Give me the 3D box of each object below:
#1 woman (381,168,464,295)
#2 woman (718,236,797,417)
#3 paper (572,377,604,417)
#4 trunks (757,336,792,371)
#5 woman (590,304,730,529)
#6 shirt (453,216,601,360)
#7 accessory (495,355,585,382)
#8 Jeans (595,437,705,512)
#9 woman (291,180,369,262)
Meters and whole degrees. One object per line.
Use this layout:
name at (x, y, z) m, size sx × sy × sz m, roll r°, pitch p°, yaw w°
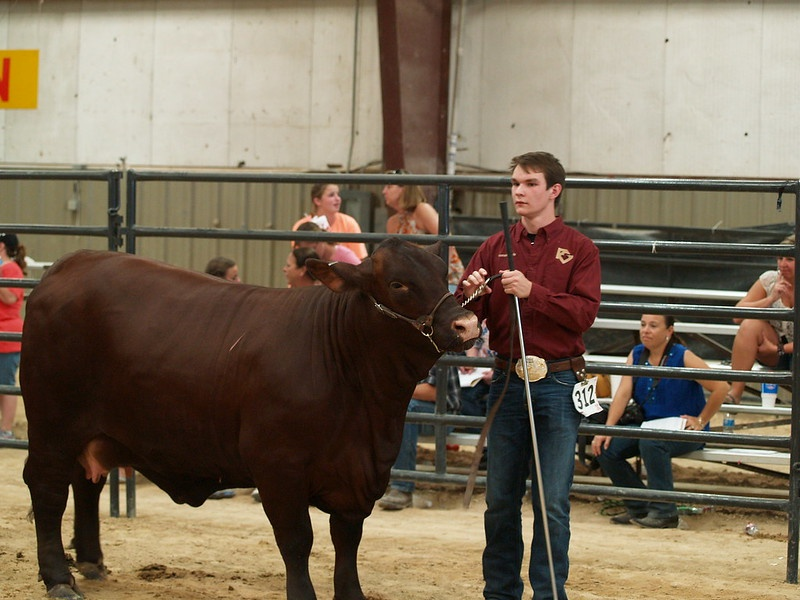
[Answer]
woman at (0.188, -0.625, 19.705) m, size 0.675 × 1.861 × 0.790 m, roll 5°, pitch 46°, yaw 6°
woman at (3.437, 0.201, 19.340) m, size 0.588 × 1.612 × 1.014 m, roll 2°, pitch 3°, yaw 9°
paper at (1.529, 0.807, 16.873) m, size 0.228 × 0.319 × 0.098 m, roll -4°, pitch -5°, yaw -15°
trunks at (3.583, 0.523, 19.356) m, size 0.327 × 0.137 × 0.259 m, roll 22°, pitch 0°, yaw 30°
woman at (2.393, 1.143, 18.711) m, size 1.252 × 2.258 × 1.233 m, roll 18°, pitch -25°, yaw -29°
shirt at (1.090, -0.048, 17.065) m, size 1.295 × 1.154 × 0.772 m, roll -2°, pitch 2°, yaw 25°
accessory at (1.157, 0.571, 16.853) m, size 0.748 × 0.227 × 0.199 m, roll 2°, pitch 3°, yaw 3°
Jeans at (2.290, 1.627, 18.814) m, size 0.830 × 0.719 × 0.518 m, roll 4°, pitch 4°, yaw 43°
woman at (-0.682, -0.689, 19.808) m, size 0.689 × 0.896 × 0.497 m, roll -9°, pitch 2°, yaw -20°
